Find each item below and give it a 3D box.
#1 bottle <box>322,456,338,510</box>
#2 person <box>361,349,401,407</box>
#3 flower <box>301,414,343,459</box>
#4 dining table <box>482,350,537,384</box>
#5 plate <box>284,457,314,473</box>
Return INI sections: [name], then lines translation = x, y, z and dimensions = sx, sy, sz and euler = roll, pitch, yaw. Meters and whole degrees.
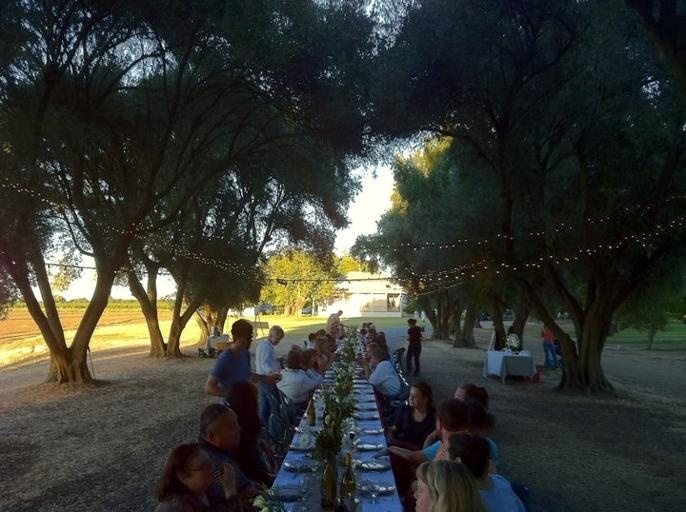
[bottle]
translation = -0.113, 1.964, 3.897
dimensions = 0.132, 0.383, 0.213
euler = -1, -7, -3
[person]
translation = 0.712, 2.244, 8.537
dimensions = 0.630, 1.183, 0.606
euler = 8, 25, 45
[flower]
translation = -0.131, 1.685, 4.226
dimensions = 0.258, 0.314, 0.547
euler = -2, -8, 3
[dining table]
translation = 5.882, 3.824, 15.931
dimensions = 1.349, 1.017, 1.339
euler = 0, -8, -10
[plate]
translation = -0.455, 2.144, 4.633
dimensions = 0.294, 0.071, 0.211
euler = 0, -9, -9
